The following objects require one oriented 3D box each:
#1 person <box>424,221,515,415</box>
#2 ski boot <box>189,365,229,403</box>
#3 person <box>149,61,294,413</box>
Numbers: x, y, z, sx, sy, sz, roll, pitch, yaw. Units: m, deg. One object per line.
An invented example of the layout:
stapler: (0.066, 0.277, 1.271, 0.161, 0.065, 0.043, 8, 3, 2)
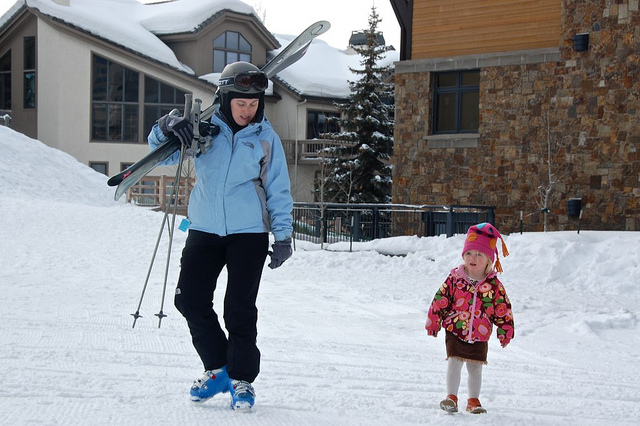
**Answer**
person: (1.748, 1.236, 7.800, 0.923, 2.152, 0.593, 0, 7, -19)
ski boot: (-1.252, 1.992, 7.702, 0.221, 0.329, 0.674, 3, 3, 38)
person: (-0.993, 0.232, 7.611, 1.251, 3.930, 0.848, 2, 7, -7)
